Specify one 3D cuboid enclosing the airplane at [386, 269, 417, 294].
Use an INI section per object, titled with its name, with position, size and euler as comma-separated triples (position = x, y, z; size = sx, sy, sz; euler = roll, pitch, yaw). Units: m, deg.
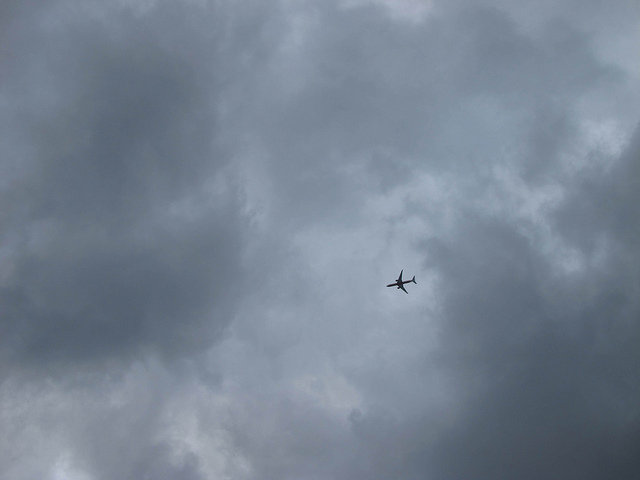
[airplane]
position = 11.896, 6.154, 158.656
size = 4.547, 1.471, 5.245
euler = -9, -106, 21
